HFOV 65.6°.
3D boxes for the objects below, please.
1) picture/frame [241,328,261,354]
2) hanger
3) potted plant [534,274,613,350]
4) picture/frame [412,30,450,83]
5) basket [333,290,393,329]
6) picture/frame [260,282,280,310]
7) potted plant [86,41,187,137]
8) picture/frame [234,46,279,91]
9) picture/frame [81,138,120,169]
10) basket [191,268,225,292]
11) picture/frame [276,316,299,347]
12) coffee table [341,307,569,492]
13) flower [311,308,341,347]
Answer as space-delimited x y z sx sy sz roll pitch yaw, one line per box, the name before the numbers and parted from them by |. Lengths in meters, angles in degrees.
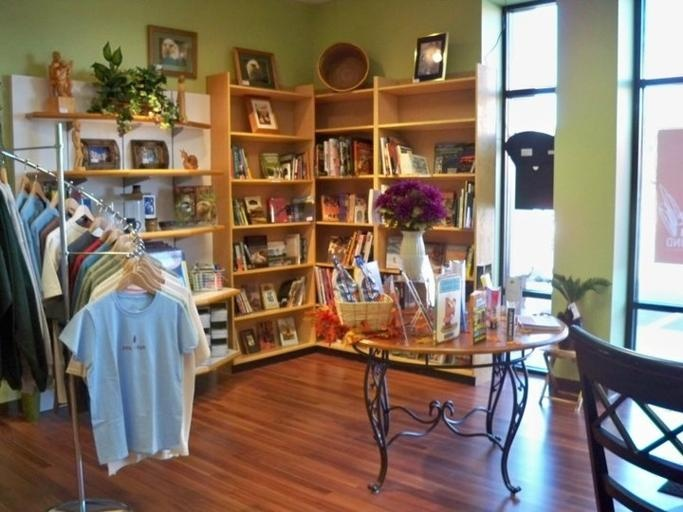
picture/frame | -1.016 0.939 5.852 0.034 0.345 0.250 -21 -13 39
hanger | -1.562 -0.217 3.405 0.610 0.693 1.361 -6 11 -29
potted plant | 1.929 0.445 4.331 0.525 0.672 0.635 -7 8 -33
picture/frame | 0.899 -1.999 5.366 0.320 0.463 0.213 2 10 13
basket | 0.156 0.334 3.341 0.277 0.157 0.220 0 3 7
picture/frame | -0.833 0.459 6.081 0.121 0.389 0.257 -19 -13 33
potted plant | -1.863 -1.443 4.908 1.027 0.928 0.775 5 12 22
picture/frame | -0.962 -2.054 5.863 0.606 0.531 0.044 -3 3 -41
picture/frame | -2.171 -0.909 4.729 0.048 0.236 0.303 -2 0 40
basket | -1.320 0.233 5.247 0.186 0.181 0.269 2 4 40
picture/frame | -0.647 0.886 6.242 0.306 0.412 0.038 4 -20 -44
coffee table | 0.773 0.934 3.814 1.317 0.926 1.312 0 -3 6
flower | -0.090 0.463 3.508 0.197 0.258 0.169 -9 -9 10
